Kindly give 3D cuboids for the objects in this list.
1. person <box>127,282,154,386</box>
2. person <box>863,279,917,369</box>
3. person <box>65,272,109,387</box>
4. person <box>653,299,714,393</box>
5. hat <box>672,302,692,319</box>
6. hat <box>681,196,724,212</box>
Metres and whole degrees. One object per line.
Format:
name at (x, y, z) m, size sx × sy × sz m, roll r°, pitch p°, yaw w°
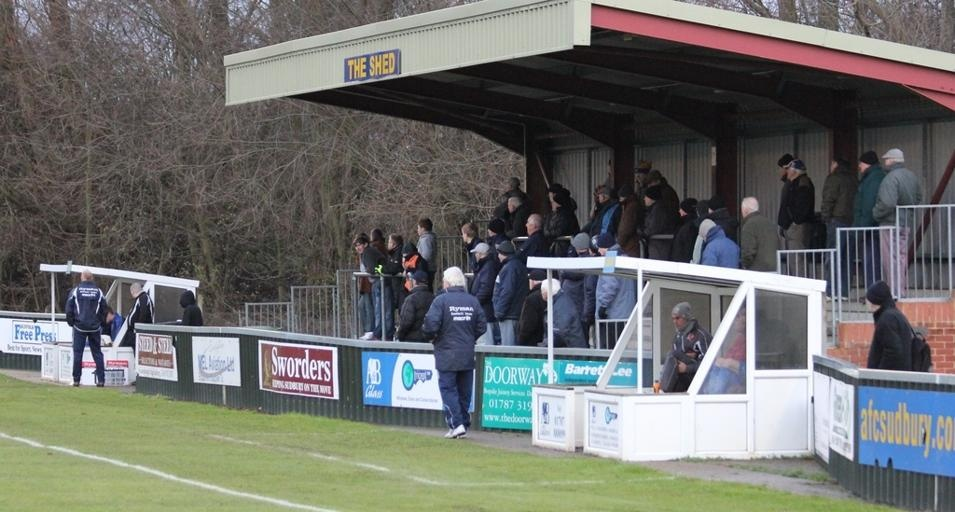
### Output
person at (-10.442, 1.690, 57.832) m, size 0.706 × 2.336 × 0.628 m, roll 2°, pitch -3°, yaw -40°
person at (10.505, 1.610, 48.058) m, size 1.019 × 2.433 × 0.951 m, roll -1°, pitch 0°, yaw 30°
person at (-11.988, 2.186, 57.300) m, size 1.236 × 3.488 × 0.847 m, roll 3°, pitch -3°, yaw -12°
person at (5.396, 2.479, 49.611) m, size 1.110 × 2.699 × 1.160 m, roll -2°, pitch 0°, yaw 42°
hat at (5.319, 1.399, 49.428) m, size 0.493 × 0.440 × 0.375 m, roll 2°, pitch -3°, yaw 4°
hat at (6.146, -1.449, 52.172) m, size 0.802 × 0.398 × 0.526 m, roll -3°, pitch -2°, yaw 44°
